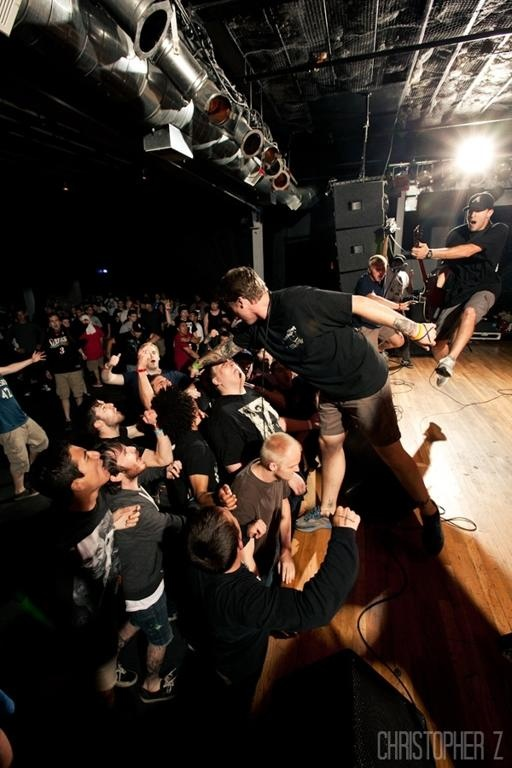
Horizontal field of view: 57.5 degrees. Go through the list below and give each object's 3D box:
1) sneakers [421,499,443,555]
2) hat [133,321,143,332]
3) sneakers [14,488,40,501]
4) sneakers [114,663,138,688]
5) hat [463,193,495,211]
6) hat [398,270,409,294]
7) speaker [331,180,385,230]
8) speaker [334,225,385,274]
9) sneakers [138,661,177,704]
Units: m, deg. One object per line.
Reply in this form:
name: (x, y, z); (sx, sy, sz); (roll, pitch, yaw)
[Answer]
sneakers: (0.952, 0.760, 2.560); (0.106, 0.127, 0.302); (-9, 45, 26)
hat: (-1.765, -0.850, 6.996); (0.152, 0.112, 0.151); (-5, 21, -40)
sneakers: (-2.024, 0.974, 4.131); (0.073, 0.086, 0.207); (2, 2, 42)
sneakers: (-0.634, 1.436, 2.331); (0.060, 0.064, 0.165); (1, -5, 11)
hat: (1.746, -1.424, 3.694); (0.189, 0.109, 0.137); (32, 35, 29)
hat: (1.878, -1.291, 5.950); (0.104, 0.266, 0.201); (3, 14, 41)
speaker: (1.429, -2.494, 6.556); (0.676, 0.682, 0.650); (2, 12, 35)
speaker: (1.461, -1.985, 6.855); (0.744, 0.721, 0.512); (1, 25, 8)
sneakers: (-0.462, 1.453, 2.259); (0.077, 0.089, 0.233); (1, 5, 22)
